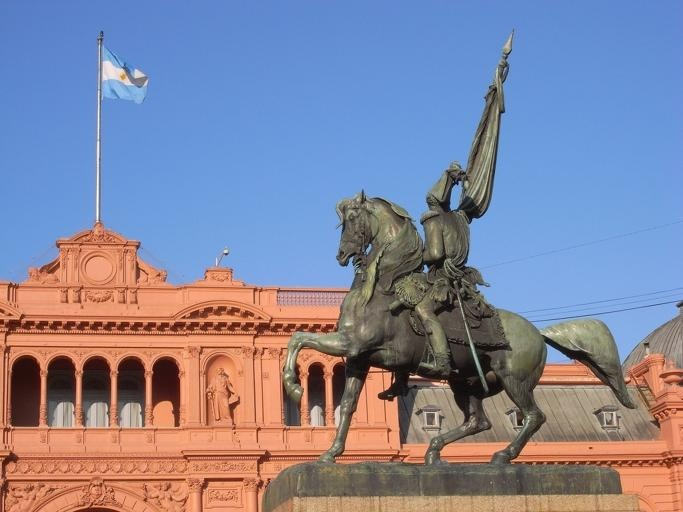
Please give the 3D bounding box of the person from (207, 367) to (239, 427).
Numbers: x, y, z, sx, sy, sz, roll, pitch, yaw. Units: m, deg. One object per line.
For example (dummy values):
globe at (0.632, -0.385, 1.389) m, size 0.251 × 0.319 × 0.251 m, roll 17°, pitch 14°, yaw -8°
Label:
person at (-5.001, 5.797, 63.018) m, size 1.325 × 2.300 × 0.468 m, roll -1°, pitch -16°, yaw -9°

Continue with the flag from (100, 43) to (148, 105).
flag at (-9.667, -7.927, 66.245) m, size 1.689 × 2.112 × 0.730 m, roll 0°, pitch -26°, yaw -10°

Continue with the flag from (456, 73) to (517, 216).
flag at (3.431, -2.825, 35.238) m, size 0.623 × 3.431 × 0.500 m, roll 8°, pitch -12°, yaw 11°

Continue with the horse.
horse at (2.775, 1.705, 34.704) m, size 7.929 × 6.099 × 2.245 m, roll 4°, pitch -7°, yaw -10°
